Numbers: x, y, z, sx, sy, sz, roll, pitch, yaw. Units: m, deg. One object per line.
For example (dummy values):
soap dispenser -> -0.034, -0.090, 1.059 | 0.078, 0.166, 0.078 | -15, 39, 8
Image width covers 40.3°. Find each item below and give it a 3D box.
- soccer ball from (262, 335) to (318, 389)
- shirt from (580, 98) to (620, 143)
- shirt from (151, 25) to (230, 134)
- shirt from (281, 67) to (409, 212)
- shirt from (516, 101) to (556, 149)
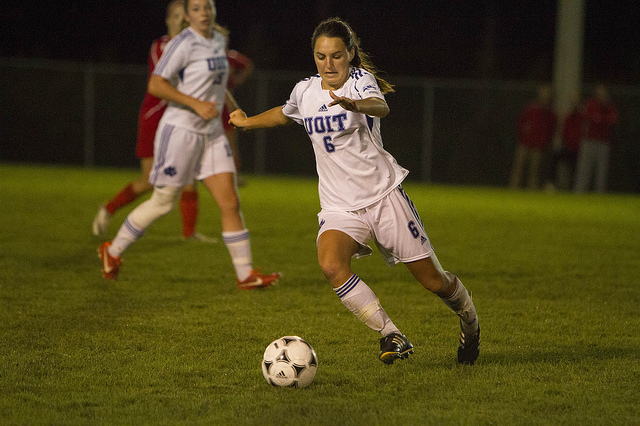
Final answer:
soccer ball -> -0.279, 1.347, 7.917 | 0.428, 0.432, 0.424 | 2, -9, 0
shirt -> 5.574, -1.864, 17.500 | 0.661, 0.901, 0.423 | 5, 14, 10
shirt -> -1.411, -1.492, 9.679 | 0.890, 1.189, 0.504 | -4, 15, -22
shirt -> 0.227, -0.672, 8.243 | 1.130, 1.328, 0.588 | -5, 9, 33
shirt -> 4.356, -1.758, 17.386 | 1.066, 0.991, 0.442 | -11, 19, -43
